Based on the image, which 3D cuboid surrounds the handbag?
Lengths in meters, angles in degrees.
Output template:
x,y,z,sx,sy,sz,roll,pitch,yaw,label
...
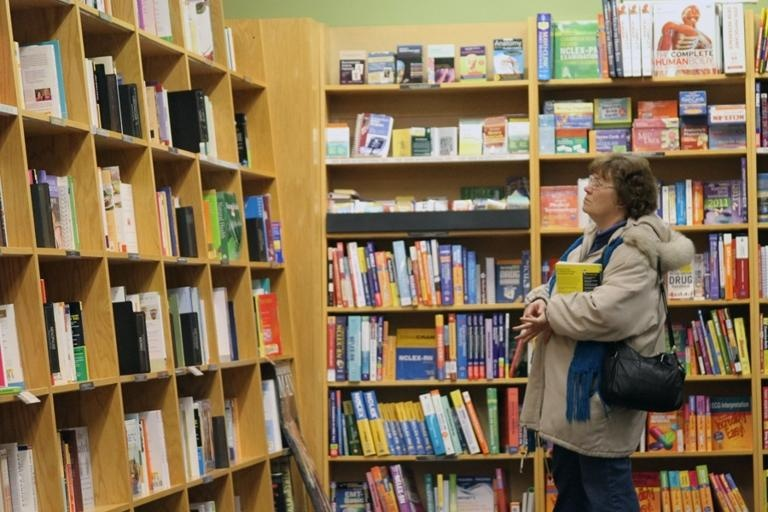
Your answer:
x,y,z,sx,sy,sz,roll,pitch,yaw,label
1.370,0.651,6.797,0.457,0.360,0.167,11,-13,-22,handbag
